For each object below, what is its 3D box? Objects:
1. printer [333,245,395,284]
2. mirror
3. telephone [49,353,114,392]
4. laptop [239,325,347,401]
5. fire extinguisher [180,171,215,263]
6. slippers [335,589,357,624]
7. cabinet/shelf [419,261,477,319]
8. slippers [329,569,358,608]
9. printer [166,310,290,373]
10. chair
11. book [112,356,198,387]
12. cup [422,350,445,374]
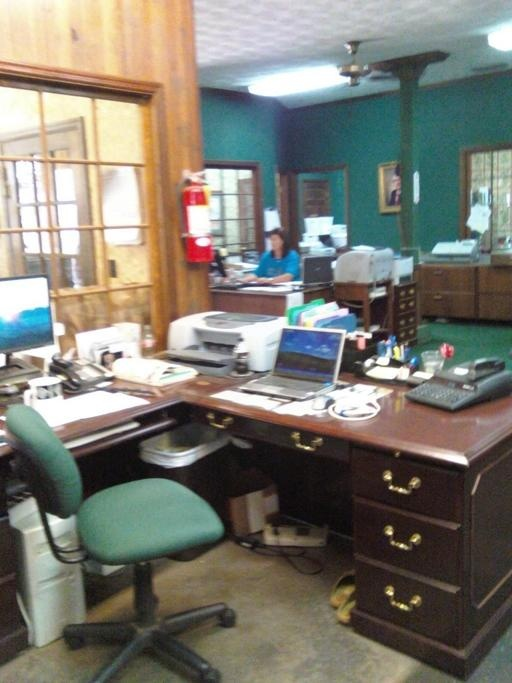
[{"bbox_3d":[0.975,-0.712,5.126,0.428,0.274,0.465,8,14,37],"label":"printer"},{"bbox_3d":[0.998,-2.093,8.818,0.835,1.327,1.646,-3,6,6],"label":"mirror"},{"bbox_3d":[-0.711,0.117,2.219,0.192,0.079,0.149,14,22,30],"label":"telephone"},{"bbox_3d":[0.165,0.077,2.145,0.320,0.194,0.317,7,15,42],"label":"laptop"},{"bbox_3d":[-0.320,-0.665,3.010,0.155,0.480,0.209,-5,7,-7],"label":"fire extinguisher"},{"bbox_3d":[0.307,0.883,1.888,0.038,0.041,0.113,2,33,28],"label":"slippers"},{"bbox_3d":[2.455,-0.631,7.173,0.738,0.640,0.577,4,12,31],"label":"cabinet/shelf"},{"bbox_3d":[0.308,0.874,1.974,0.071,0.025,0.139,-11,23,36],"label":"slippers"},{"bbox_3d":[-0.136,-0.011,2.489,0.421,0.155,0.325,9,15,38],"label":"printer"},{"bbox_3d":[-0.339,0.451,1.897,0.818,0.979,0.670,-6,19,-19],"label":"chair"},{"bbox_3d":[-0.392,0.124,2.360,0.182,0.049,0.195,11,13,40],"label":"book"},{"bbox_3d":[0.718,0.082,2.276,0.087,0.076,0.096,-1,5,11],"label":"cup"}]
